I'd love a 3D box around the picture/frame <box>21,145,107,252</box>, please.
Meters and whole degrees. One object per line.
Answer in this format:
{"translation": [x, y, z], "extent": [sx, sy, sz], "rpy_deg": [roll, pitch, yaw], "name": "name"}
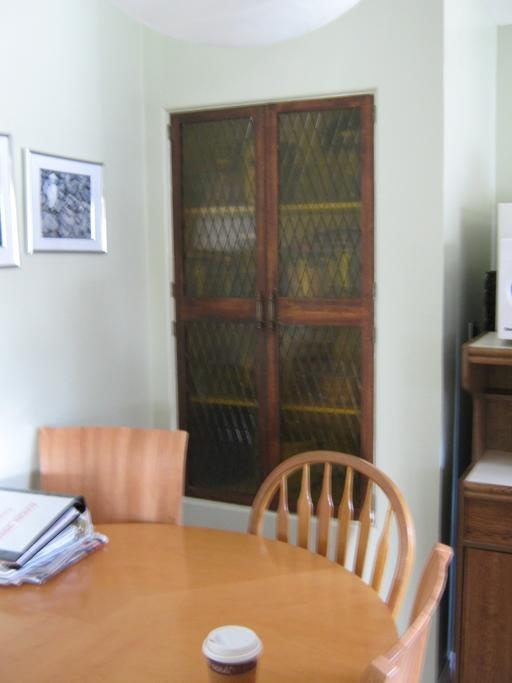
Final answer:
{"translation": [-0.653, -0.483, 1.870], "extent": [0.032, 0.356, 0.364], "rpy_deg": [1, 3, 20], "name": "picture/frame"}
